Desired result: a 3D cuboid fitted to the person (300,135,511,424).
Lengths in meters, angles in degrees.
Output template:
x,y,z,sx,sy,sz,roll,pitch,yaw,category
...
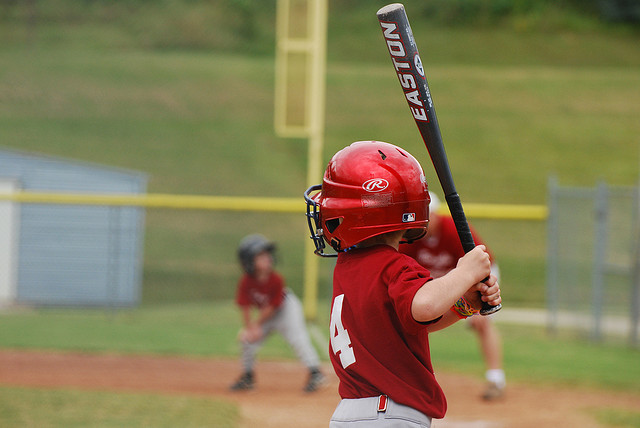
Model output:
x,y,z,sx,sy,sz,roll,pitch,yaw,category
0.413,0.369,7.127,1.024,1.548,0.495,0,-2,4,person
